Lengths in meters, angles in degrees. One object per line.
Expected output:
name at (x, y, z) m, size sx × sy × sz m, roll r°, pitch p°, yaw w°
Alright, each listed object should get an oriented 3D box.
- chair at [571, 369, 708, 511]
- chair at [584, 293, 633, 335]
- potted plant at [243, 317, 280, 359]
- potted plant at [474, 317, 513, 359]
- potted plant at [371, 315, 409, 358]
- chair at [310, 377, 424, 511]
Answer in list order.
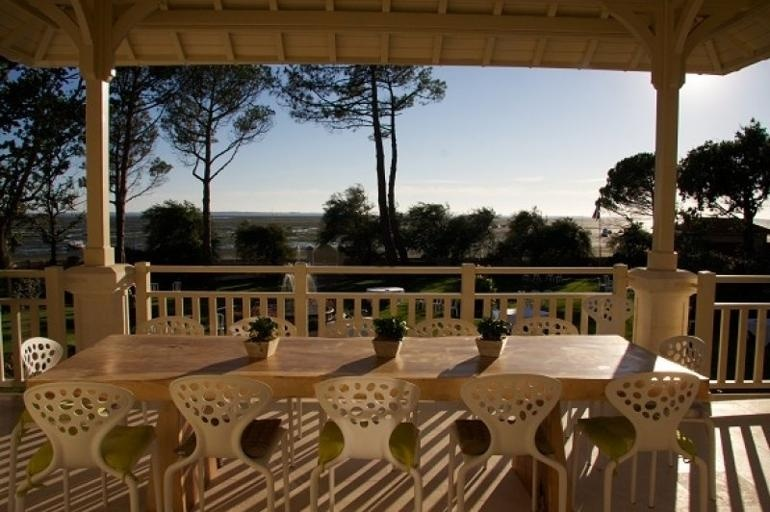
chair at (1.796, 1.282, 3.895) m, size 0.857 × 0.910 × 0.404 m, roll -1°, pitch 0°, yaw 19°
chair at (2.253, 0.600, 5.695) m, size 0.671 × 0.405 × 0.285 m, roll -2°, pitch 1°, yaw -37°
potted plant at (-0.968, 0.633, 4.373) m, size 0.273 × 0.298 × 0.299 m, roll 3°, pitch -2°, yaw -35°
potted plant at (0.842, 0.638, 4.406) m, size 0.224 × 0.305 × 0.273 m, roll 2°, pitch -4°, yaw 26°
potted plant at (0.011, 0.622, 4.378) m, size 0.286 × 0.325 × 0.256 m, roll 9°, pitch -6°, yaw -10°
chair at (-0.135, 1.205, 4.216) m, size 0.873 × 1.294 × 0.920 m, roll 0°, pitch 10°, yaw 0°
